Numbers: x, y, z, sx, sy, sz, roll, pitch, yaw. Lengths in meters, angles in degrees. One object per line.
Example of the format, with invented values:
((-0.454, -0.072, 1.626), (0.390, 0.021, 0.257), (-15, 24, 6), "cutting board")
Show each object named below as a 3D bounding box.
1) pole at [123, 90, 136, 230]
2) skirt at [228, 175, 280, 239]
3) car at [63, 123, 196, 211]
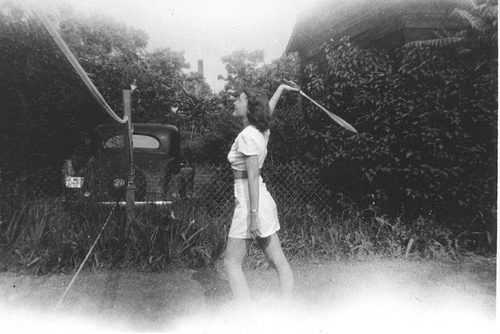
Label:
((-1.753, -0.174, 5.922), (0.156, 2.092, 0.160), (0, -3, -30), "pole")
((0.050, 0.442, 4.278), (0.514, 0.548, 0.209), (2, 0, 6), "skirt")
((-1.892, -0.056, 6.610), (1.099, 0.886, 1.852), (1, 11, -4), "car")
